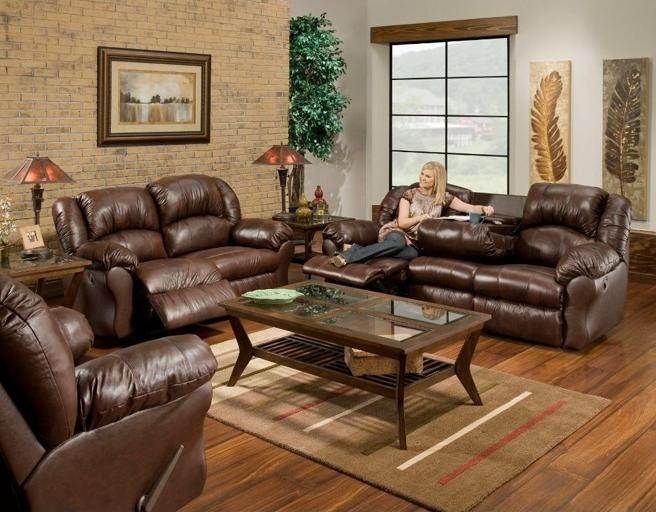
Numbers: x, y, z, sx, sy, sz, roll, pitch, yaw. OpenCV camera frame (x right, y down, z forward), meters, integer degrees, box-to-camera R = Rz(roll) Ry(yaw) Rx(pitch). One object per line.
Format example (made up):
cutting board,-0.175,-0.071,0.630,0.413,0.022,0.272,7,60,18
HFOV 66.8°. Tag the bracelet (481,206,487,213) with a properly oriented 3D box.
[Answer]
bracelet,1.535,-0.458,4.894,0.059,0.048,0.019,4,-16,41

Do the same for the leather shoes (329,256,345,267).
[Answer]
leather shoes,0.092,0.053,4.660,0.080,0.053,0.182,0,4,-39

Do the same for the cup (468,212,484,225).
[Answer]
cup,1.376,-0.361,4.666,0.154,0.090,0.124,1,3,38

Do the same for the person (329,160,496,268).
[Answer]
person,0.789,-0.341,4.945,1.603,0.709,0.904,-23,39,-23

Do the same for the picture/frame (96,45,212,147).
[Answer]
picture/frame,-1.938,-1.756,5.399,1.549,0.929,0.100,-5,9,-42

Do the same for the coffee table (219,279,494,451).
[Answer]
coffee table,0.305,0.353,3.015,1.471,0.488,0.961,9,13,43

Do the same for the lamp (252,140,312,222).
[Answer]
lamp,-0.480,-0.923,6.136,1.063,0.930,0.945,1,4,8

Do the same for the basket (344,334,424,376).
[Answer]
basket,0.271,0.544,2.841,0.342,0.090,0.225,-2,3,-33
